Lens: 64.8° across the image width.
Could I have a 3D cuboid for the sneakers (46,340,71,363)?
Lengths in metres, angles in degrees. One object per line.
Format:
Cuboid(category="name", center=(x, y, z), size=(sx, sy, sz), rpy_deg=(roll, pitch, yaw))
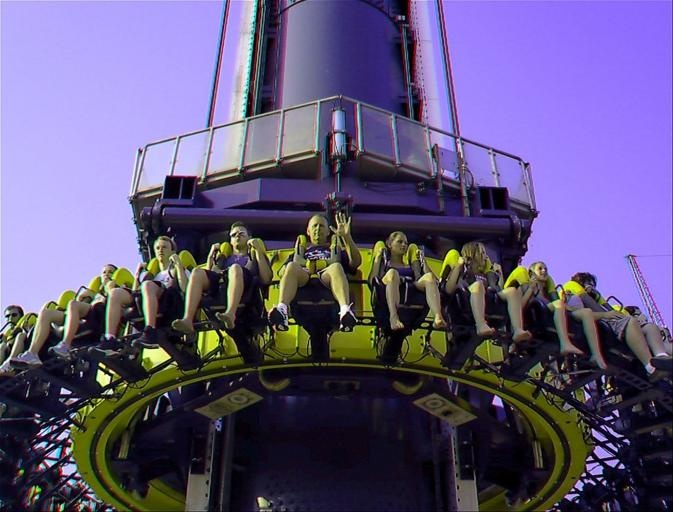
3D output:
Cuboid(category="sneakers", center=(-5.007, 1.740, 9.616), size=(0.386, 0.287, 0.131), rpy_deg=(29, -57, -18))
